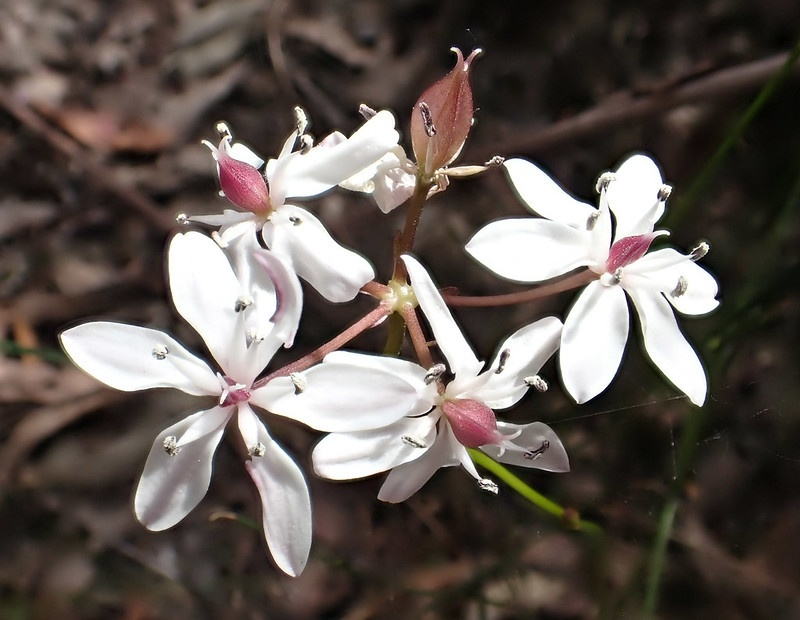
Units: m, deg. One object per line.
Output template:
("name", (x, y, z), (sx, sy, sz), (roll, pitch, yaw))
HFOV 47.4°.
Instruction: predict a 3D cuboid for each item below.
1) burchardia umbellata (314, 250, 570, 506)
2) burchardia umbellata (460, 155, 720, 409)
("burchardia umbellata", (0.079, 0.170, 1.980), (0.496, 0.263, 0.468), (11, 69, 3))
("burchardia umbellata", (0.465, -0.117, 2.094), (0.213, 0.588, 0.646), (-48, 42, 21))
